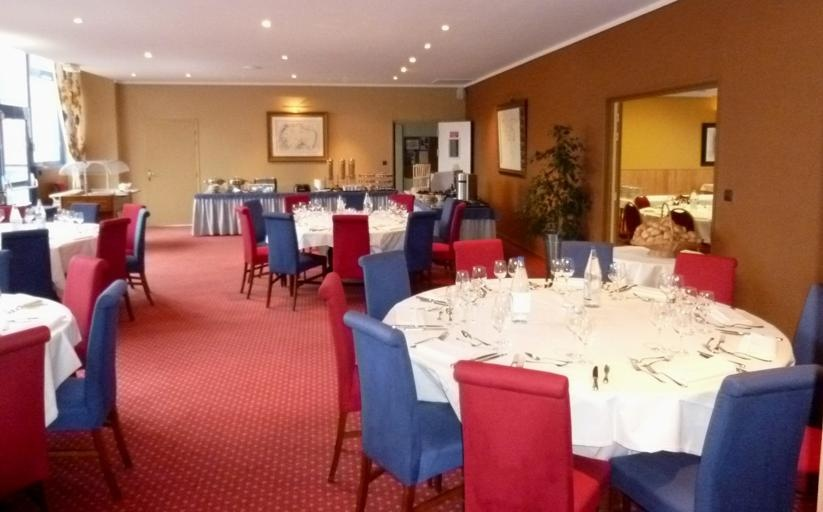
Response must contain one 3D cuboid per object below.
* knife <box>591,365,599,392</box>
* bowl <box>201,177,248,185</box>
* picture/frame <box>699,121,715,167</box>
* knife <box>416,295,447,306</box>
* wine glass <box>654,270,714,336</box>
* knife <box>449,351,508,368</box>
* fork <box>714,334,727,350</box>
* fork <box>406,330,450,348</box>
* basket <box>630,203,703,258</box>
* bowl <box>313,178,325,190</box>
[{"bbox_3d":[1.006,0.678,3.148,0.031,0.014,0.183,-1,28,20],"label":"knife"},{"bbox_3d":[-4.175,-1.646,12.513,0.542,0.155,0.341,2,3,-12],"label":"bowl"},{"bbox_3d":[6.041,-2.285,11.606,0.251,0.877,0.198,-2,11,-15],"label":"picture/frame"},{"bbox_3d":[0.143,0.332,4.210,0.248,0.040,0.038,9,51,24],"label":"knife"},{"bbox_3d":[1.714,0.303,3.624,0.303,0.163,0.571,-2,10,5],"label":"wine glass"},{"bbox_3d":[0.378,0.587,3.205,0.275,0.021,0.068,-9,22,-19],"label":"knife"},{"bbox_3d":[1.921,0.533,3.540,0.049,0.037,0.237,-3,21,38],"label":"fork"},{"bbox_3d":[0.123,0.528,3.598,0.368,0.063,0.078,-8,34,-17],"label":"fork"},{"bbox_3d":[3.017,-0.308,6.709,0.801,0.590,0.849,-1,7,-3],"label":"basket"},{"bbox_3d":[-2.018,-1.542,12.400,0.189,0.226,0.446,0,10,-5],"label":"bowl"}]
